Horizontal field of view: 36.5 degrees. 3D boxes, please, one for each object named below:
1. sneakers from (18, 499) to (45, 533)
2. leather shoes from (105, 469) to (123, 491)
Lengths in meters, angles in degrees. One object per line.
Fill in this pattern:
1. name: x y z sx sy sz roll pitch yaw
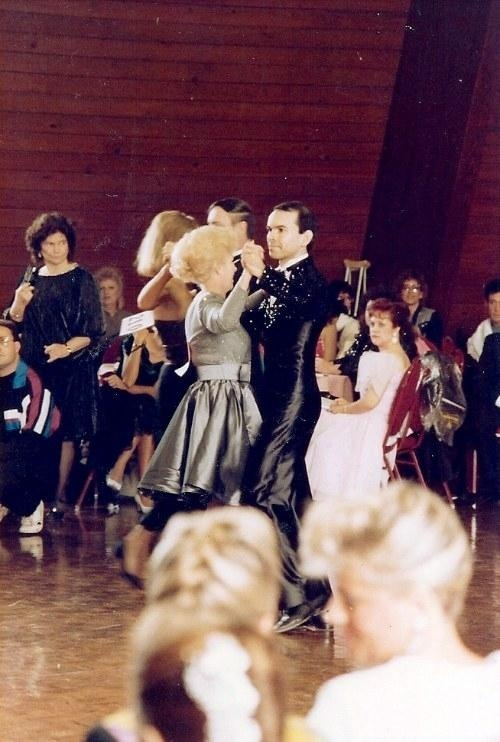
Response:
1. sneakers: -1.220 0.846 4.220 0.121 0.184 0.230 2 30 -8
2. leather shoes: -0.890 0.727 5.055 0.130 0.131 0.148 2 -10 -7
